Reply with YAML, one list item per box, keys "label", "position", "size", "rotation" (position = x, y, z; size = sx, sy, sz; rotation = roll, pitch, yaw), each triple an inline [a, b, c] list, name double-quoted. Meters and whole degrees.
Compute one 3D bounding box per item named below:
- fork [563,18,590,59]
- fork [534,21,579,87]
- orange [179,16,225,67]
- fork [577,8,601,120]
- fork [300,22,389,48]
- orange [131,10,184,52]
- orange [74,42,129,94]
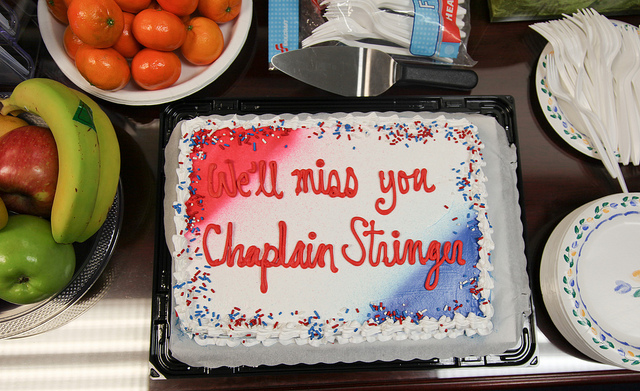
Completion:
- label: "fork"
  position: [1.481, -0.944, 3.408]
  size: [0.048, 0.052, 0.367]
  rotation: [-29, 66, 39]
- label: "fork"
  position: [1.358, -0.800, 3.409]
  size: [0.058, 0.049, 0.433]
  rotation: [-31, 74, 35]
- label: "orange"
  position: [-0.641, -0.838, 3.330]
  size: [0.229, 0.240, 0.283]
  rotation: [-20, 98, 7]
- label: "fork"
  position: [1.535, -0.742, 3.361]
  size: [0.039, 0.054, 0.646]
  rotation: [-6, 81, 2]
- label: "fork"
  position: [0.142, -0.901, 3.465]
  size: [0.530, 0.092, 0.097]
  rotation: [5, 80, 19]
- label: "orange"
  position: [-0.873, -0.875, 3.246]
  size: [0.270, 0.176, 0.205]
  rotation: [5, 81, 3]
- label: "orange"
  position: [-1.173, -0.699, 3.256]
  size: [0.132, 0.253, 0.240]
  rotation: [-41, 100, 17]
